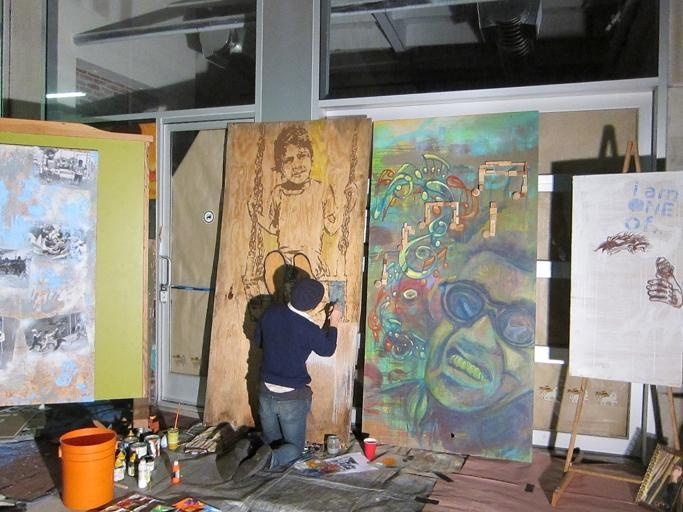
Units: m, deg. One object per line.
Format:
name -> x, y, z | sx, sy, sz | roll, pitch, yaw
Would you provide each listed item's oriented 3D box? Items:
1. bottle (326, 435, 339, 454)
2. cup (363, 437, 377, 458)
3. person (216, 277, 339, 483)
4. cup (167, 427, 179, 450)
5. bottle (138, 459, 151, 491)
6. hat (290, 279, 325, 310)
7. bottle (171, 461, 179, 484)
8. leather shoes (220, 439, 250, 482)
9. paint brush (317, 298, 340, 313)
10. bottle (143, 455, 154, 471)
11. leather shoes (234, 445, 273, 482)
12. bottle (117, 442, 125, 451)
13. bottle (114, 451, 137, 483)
bottle -> -0.077, 1.615, 5.806 | 0.139, 0.146, 0.092 | 7, -11, -24
cup -> 0.223, 1.619, 5.729 | 0.132, 0.142, 0.133 | -1, -7, 0
person -> -0.503, 0.995, 5.659 | 0.912, 1.496, 0.426 | 2, 1, -10
cup -> -1.461, 1.592, 5.914 | 0.117, 0.200, 0.121 | -1, -7, 0
bottle -> -1.557, 1.719, 5.404 | 0.116, 0.210, 0.122 | 3, 1, 0
hat -> -0.266, 0.301, 5.653 | 0.267, 0.223, 0.216 | -27, -1, 25
bottle -> -1.343, 1.725, 5.518 | 0.061, 0.155, 0.216 | 2, 1, -15
leather shoes -> -0.892, 1.638, 5.513 | 0.183, 0.330, 0.127 | 33, -17, 34
paint brush -> -0.118, 0.443, 6.028 | 0.172, 0.100, 0.045 | -34, -24, 21
bottle -> -1.540, 1.662, 5.480 | 0.096, 0.115, 0.101 | 2, 6, -15
leather shoes -> -0.722, 1.635, 5.497 | 0.384, 0.148, 0.150 | 5, 25, -33
bottle -> -1.806, 1.563, 5.582 | 0.059, 0.063, 0.043 | 2, -6, 17
bottle -> -1.739, 1.693, 5.501 | 0.169, 0.199, 0.115 | 2, 1, -17
